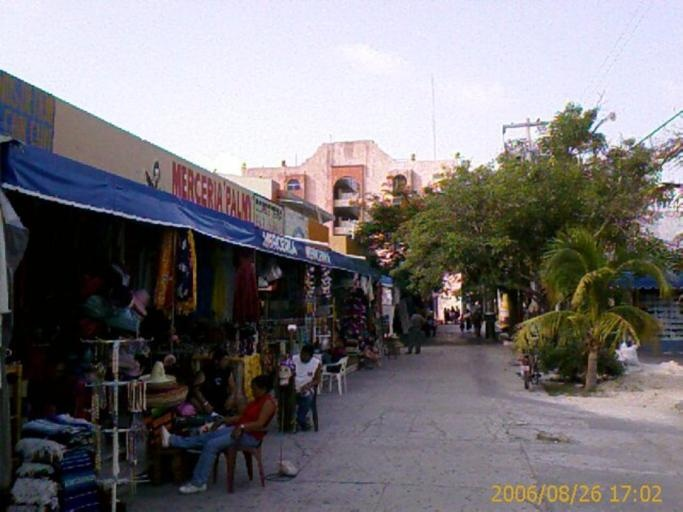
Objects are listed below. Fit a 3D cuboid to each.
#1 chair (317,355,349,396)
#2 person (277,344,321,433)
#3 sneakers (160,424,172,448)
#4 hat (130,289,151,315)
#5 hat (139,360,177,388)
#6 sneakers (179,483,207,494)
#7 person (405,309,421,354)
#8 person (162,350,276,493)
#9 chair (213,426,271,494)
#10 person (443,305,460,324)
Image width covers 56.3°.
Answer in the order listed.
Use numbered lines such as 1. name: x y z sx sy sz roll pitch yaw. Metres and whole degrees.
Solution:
1. chair: -0.192 2.747 15.036 0.605 0.944 0.672 2 5 17
2. person: -0.719 2.229 10.904 0.825 1.445 0.614 1 -10 -28
3. sneakers: -2.303 2.365 8.394 0.114 0.332 0.104 -1 -8 4
4. hat: -2.789 0.615 8.843 0.157 0.414 0.534 -3 -10 -8
5. hat: -2.422 1.567 8.631 0.318 0.222 0.352 0 -6 6
6. sneakers: -1.868 2.936 8.080 0.323 0.163 0.128 6 -5 -6
7. person: 2.815 2.992 24.623 0.660 1.612 2.595 -5 -10 5
8. person: -1.577 2.319 8.399 1.401 1.387 0.462 -2 -9 -17
9. chair: -1.347 2.780 8.487 0.654 0.554 0.773 -1 -10 6
10. person: 8.798 5.042 53.000 0.990 1.607 2.287 5 3 19
